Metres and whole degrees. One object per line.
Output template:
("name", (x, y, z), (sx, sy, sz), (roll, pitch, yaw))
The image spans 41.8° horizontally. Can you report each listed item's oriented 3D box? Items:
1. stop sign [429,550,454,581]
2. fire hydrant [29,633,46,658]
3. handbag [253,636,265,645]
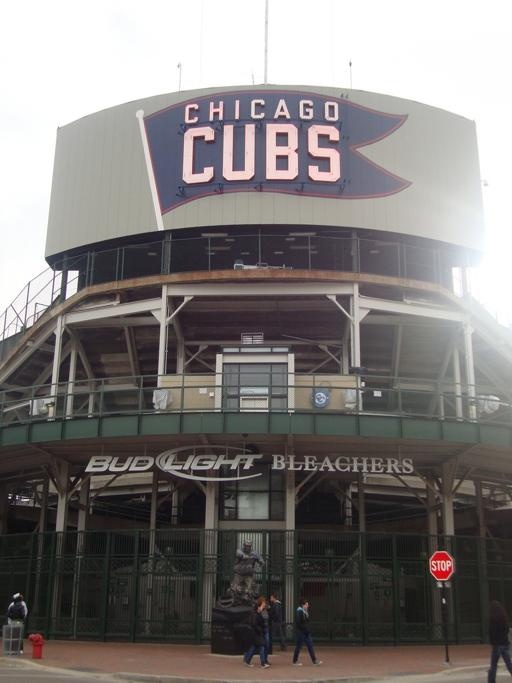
("stop sign", (4.077, 4.901, 14.657), (0.425, 0.603, 0.429), (-7, -23, 19))
("fire hydrant", (-4.735, 6.567, 14.475), (0.275, 0.458, 1.057), (6, -21, -14))
("handbag", (0.066, 5.900, 13.187), (0.208, 0.196, 0.195), (3, -9, -8))
